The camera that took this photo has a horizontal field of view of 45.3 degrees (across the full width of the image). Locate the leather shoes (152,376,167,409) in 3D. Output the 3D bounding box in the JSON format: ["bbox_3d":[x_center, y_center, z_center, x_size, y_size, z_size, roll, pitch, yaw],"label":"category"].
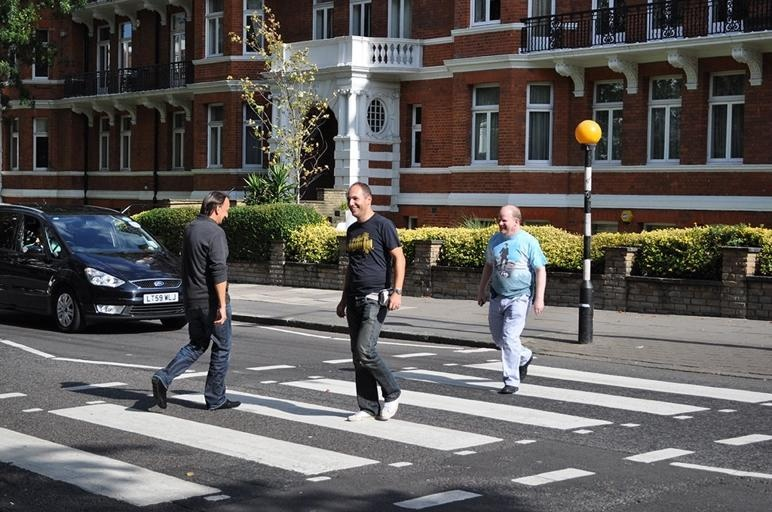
[{"bbox_3d":[-2.852,1.694,11.618,0.145,0.443,0.193,-8,5,26],"label":"leather shoes"}]

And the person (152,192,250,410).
[{"bbox_3d":[-2.348,0.561,11.661,0.974,2.709,0.610,0,5,-7],"label":"person"}]

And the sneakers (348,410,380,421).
[{"bbox_3d":[-0.282,1.957,11.327,0.329,0.135,0.134,5,-6,-10],"label":"sneakers"}]

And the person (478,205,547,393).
[{"bbox_3d":[1.783,0.571,12.826,0.821,2.515,0.842,0,5,-7],"label":"person"}]

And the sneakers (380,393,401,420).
[{"bbox_3d":[0.089,1.804,11.351,0.151,0.180,0.415,-22,19,37],"label":"sneakers"}]

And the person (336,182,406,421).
[{"bbox_3d":[-0.170,0.554,11.362,0.759,2.873,0.612,1,5,2],"label":"person"}]

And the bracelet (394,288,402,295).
[{"bbox_3d":[0.141,0.424,11.215,0.076,0.058,0.087,1,-8,20],"label":"bracelet"}]
